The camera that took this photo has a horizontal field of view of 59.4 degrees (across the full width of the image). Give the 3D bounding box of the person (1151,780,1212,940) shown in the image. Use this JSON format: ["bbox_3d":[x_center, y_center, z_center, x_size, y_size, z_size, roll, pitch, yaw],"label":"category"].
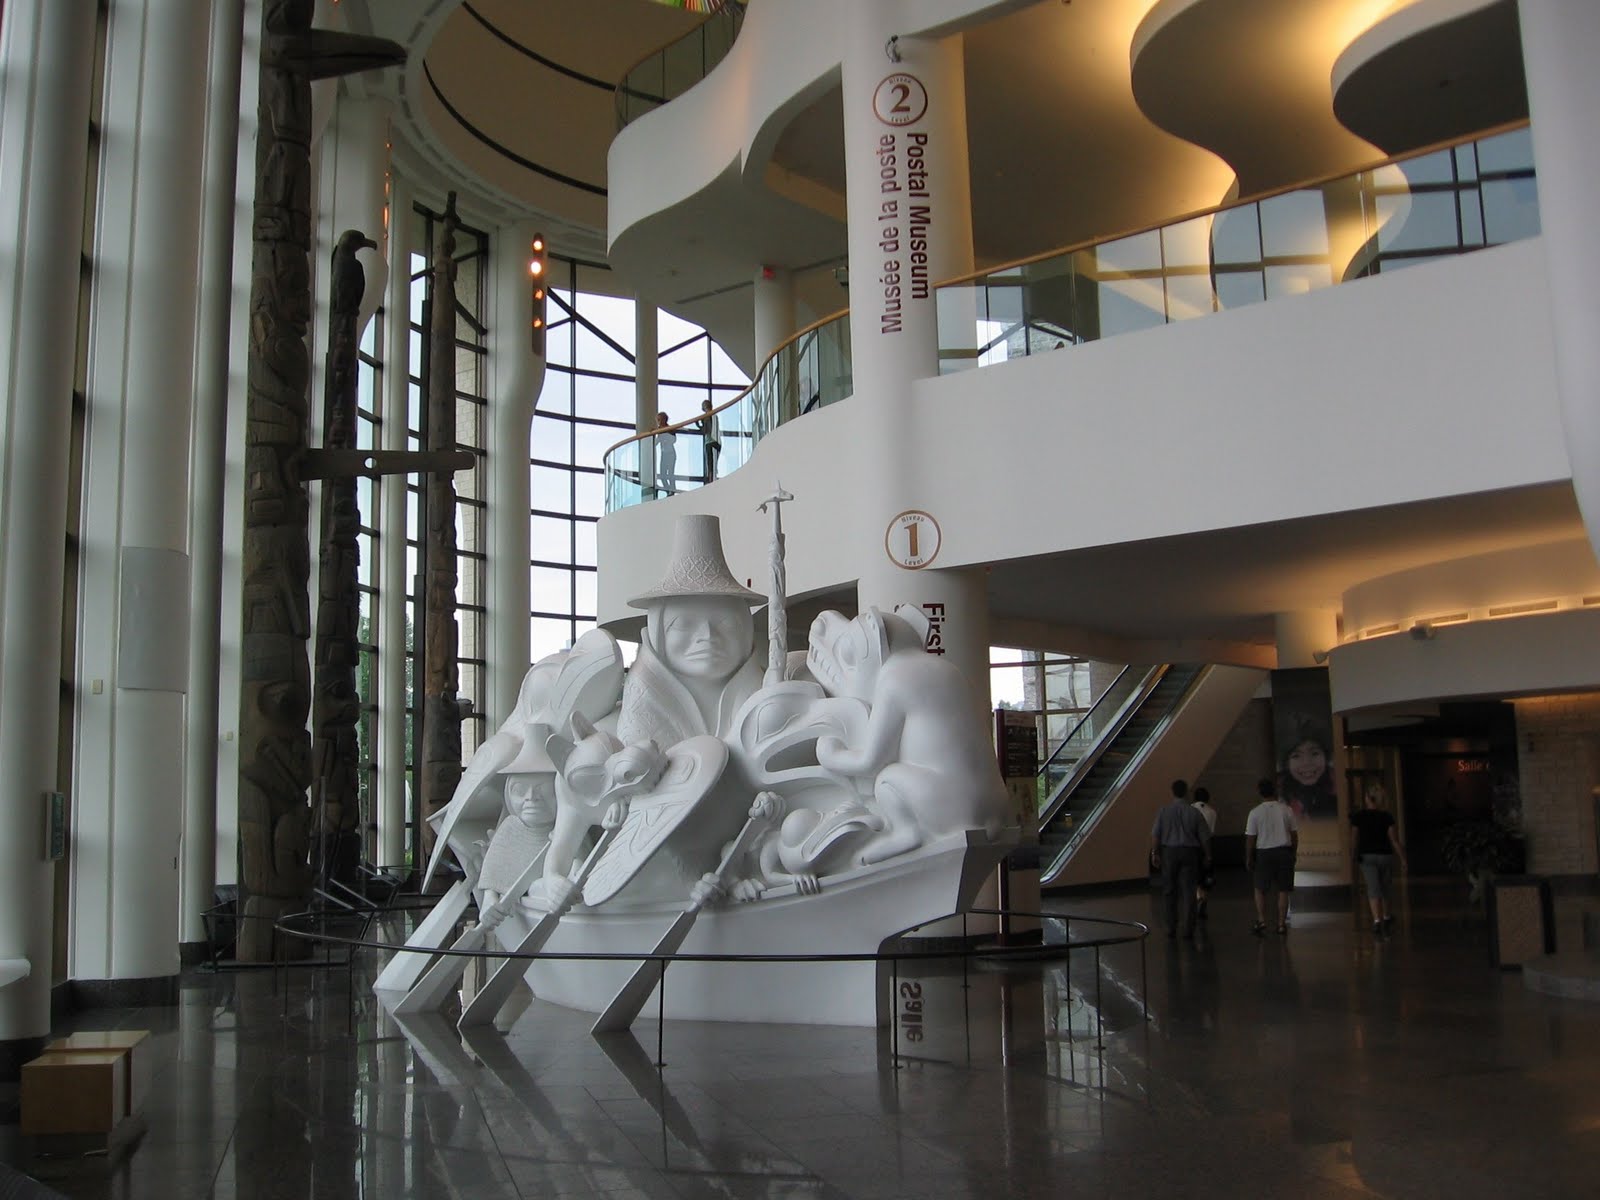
[{"bbox_3d":[3.836,2.598,14.069,0.539,1.593,1.518,-2,-5,15],"label":"person"}]

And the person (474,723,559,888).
[{"bbox_3d":[-2.174,1.628,10.722,0.418,1.340,0.811,3,-6,-42],"label":"person"}]

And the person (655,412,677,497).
[{"bbox_3d":[-1.727,-1.810,18.340,0.110,0.949,0.404,3,-6,-37],"label":"person"}]

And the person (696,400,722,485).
[{"bbox_3d":[-1.140,-1.945,17.751,0.174,0.957,0.505,1,-5,-19],"label":"person"}]

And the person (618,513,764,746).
[{"bbox_3d":[-0.750,0.302,10.999,1.228,2.132,1.057,-3,-22,0],"label":"person"}]
